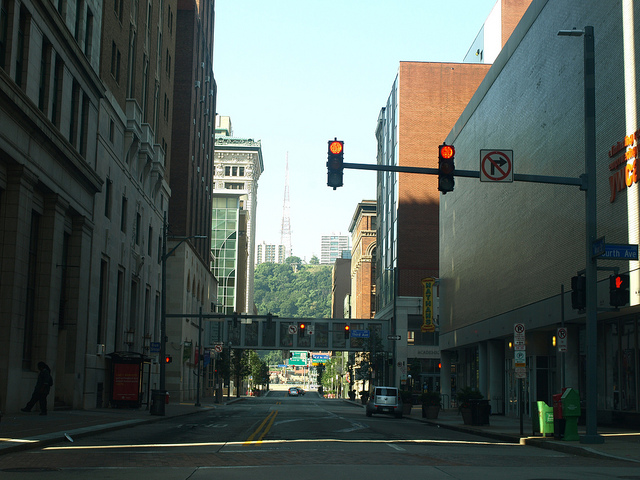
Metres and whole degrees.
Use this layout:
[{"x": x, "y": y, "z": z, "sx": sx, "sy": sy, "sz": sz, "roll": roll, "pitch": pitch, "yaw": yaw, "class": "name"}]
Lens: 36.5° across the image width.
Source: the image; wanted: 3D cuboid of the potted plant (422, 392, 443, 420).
[{"x": 6.559, "y": 9.742, "z": 57.112, "sx": 1.128, "sy": 1.444, "sz": 1.197, "roll": 2, "pitch": -12, "yaw": -3, "class": "potted plant"}]

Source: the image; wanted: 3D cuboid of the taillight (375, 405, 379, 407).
[{"x": 3.442, "y": 10.223, "z": 60.004, "sx": 0.196, "sy": 0.127, "sz": 0.047, "roll": -2, "pitch": -15, "yaw": 6, "class": "taillight"}]

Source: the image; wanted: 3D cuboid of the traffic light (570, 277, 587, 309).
[{"x": 10.029, "y": 2.072, "z": 37.785, "sx": 0.482, "sy": 1.214, "sz": 0.395, "roll": -2, "pitch": -15, "yaw": 6, "class": "traffic light"}]

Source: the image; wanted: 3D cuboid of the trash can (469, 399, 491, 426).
[{"x": 8.033, "y": 8.723, "z": 49.166, "sx": 0.935, "sy": 1.696, "sz": 1.086, "roll": 0, "pitch": -12, "yaw": 3, "class": "trash can"}]

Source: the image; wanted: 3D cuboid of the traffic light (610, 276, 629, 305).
[{"x": 11.223, "y": 1.873, "z": 36.462, "sx": 0.830, "sy": 1.554, "sz": 0.225, "roll": 1, "pitch": -1, "yaw": 13, "class": "traffic light"}]

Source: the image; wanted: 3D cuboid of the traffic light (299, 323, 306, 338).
[{"x": -1.332, "y": 6.211, "z": 68.115, "sx": 0.352, "sy": 0.816, "sz": 0.855, "roll": 0, "pitch": -17, "yaw": -1, "class": "traffic light"}]
